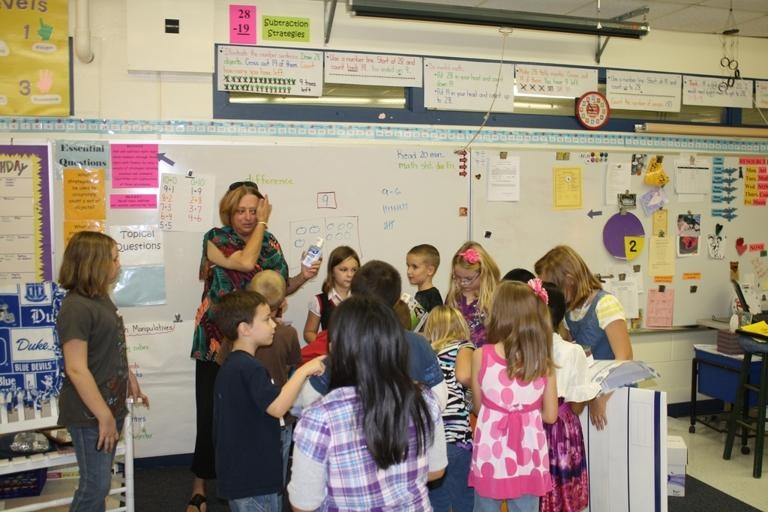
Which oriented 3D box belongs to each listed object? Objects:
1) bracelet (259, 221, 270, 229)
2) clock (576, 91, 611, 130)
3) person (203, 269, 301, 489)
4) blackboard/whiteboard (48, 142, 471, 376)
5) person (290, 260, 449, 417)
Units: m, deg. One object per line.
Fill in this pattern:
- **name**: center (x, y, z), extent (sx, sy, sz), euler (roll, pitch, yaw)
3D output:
- **bracelet**: center (-0.868, -0.218, 4.609), extent (0.044, 0.051, 0.048), euler (1, -6, -8)
- **clock**: center (1.928, -1.344, 5.902), extent (0.350, 0.342, 0.045), euler (-2, 2, -18)
- **person**: center (-0.697, 1.060, 4.264), extent (0.598, 1.715, 0.406), euler (-17, 30, -23)
- **blackboard/whiteboard**: center (-0.837, 0.136, 5.412), extent (3.195, 2.178, 0.055), euler (-3, 6, -4)
- **person**: center (-0.121, 0.552, 3.316), extent (0.525, 1.206, 0.375), euler (-14, -12, -9)
